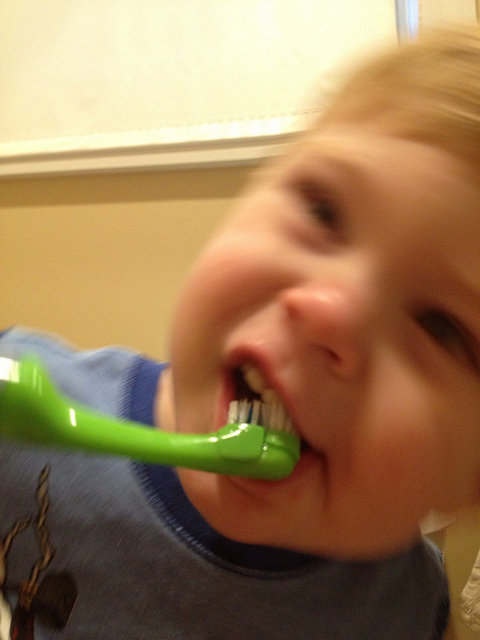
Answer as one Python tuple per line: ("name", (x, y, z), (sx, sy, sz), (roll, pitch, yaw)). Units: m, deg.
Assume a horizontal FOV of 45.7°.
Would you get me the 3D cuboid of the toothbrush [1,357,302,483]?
("toothbrush", (-0.035, 0.046, 0.247), (0.132, 0.027, 0.033), (12, 52, -2))
